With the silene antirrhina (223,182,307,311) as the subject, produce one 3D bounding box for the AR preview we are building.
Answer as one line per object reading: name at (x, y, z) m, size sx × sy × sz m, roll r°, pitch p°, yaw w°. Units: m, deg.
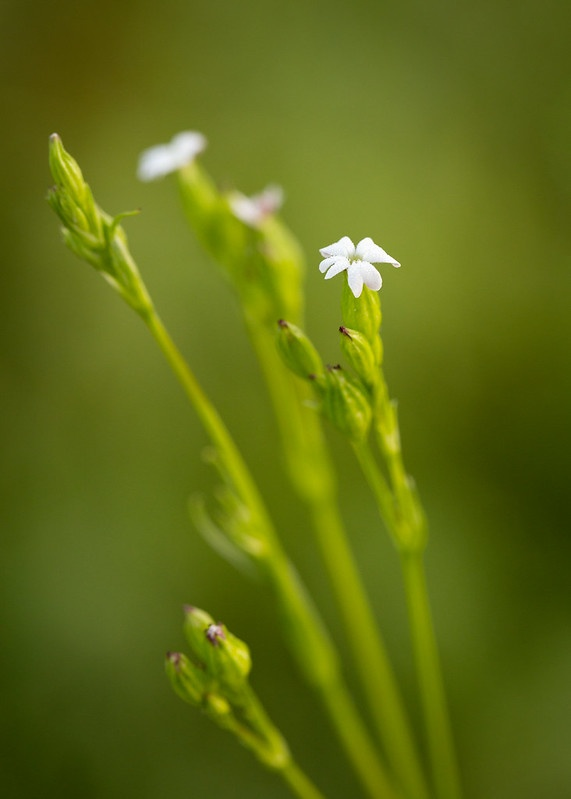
silene antirrhina at (-0.009, -0.096, 0.469) m, size 0.042 × 0.096 × 0.066 m, roll 3°, pitch -3°, yaw 13°
